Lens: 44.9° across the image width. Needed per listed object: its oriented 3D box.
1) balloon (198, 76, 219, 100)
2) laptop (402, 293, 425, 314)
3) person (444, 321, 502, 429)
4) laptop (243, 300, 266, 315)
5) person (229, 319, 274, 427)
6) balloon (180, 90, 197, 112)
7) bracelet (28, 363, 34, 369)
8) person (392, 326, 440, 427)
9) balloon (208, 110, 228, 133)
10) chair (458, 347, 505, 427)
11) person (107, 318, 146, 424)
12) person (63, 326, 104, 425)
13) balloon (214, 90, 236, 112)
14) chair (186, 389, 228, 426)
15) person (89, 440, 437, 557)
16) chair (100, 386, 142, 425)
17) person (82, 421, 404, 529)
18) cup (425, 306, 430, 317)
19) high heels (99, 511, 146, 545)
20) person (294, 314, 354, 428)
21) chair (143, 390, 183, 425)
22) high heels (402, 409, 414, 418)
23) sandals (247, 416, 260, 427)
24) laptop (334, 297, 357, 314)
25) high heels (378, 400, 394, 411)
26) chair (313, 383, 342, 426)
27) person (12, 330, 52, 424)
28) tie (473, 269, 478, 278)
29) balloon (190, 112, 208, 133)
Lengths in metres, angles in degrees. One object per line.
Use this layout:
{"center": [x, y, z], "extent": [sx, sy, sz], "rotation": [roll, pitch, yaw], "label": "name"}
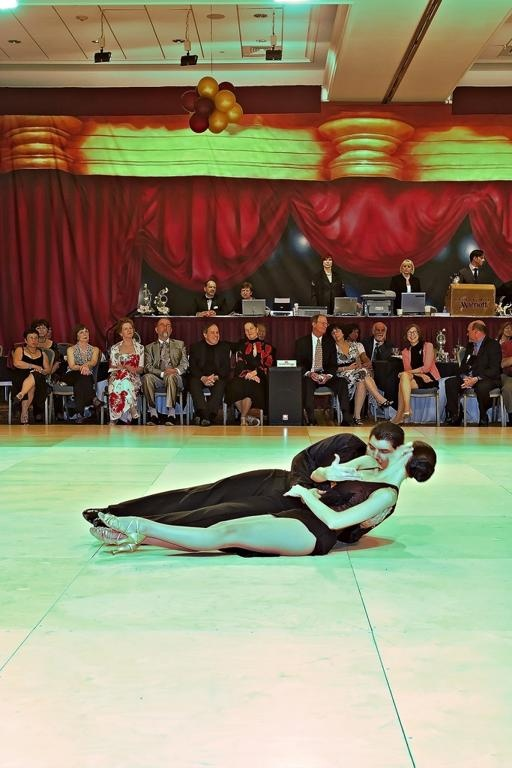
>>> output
{"center": [-0.683, -4.246, 8.913], "extent": [0.296, 0.320, 0.283], "rotation": [0, 6, -1], "label": "balloon"}
{"center": [2.531, -1.333, 10.260], "extent": [0.459, 0.405, 0.316], "rotation": [2, 12, 5], "label": "laptop"}
{"center": [3.206, -0.175, 9.056], "extent": [0.702, 1.427, 0.715], "rotation": [-18, 16, -32], "label": "person"}
{"center": [-0.065, -1.266, 10.246], "extent": [0.353, 0.220, 0.240], "rotation": [1, 11, -4], "label": "laptop"}
{"center": [-0.067, -0.166, 9.062], "extent": [0.593, 1.482, 0.635], "rotation": [3, 0, 1], "label": "person"}
{"center": [-1.007, -4.170, 9.122], "extent": [0.187, 0.344, 0.389], "rotation": [3, -1, -21], "label": "balloon"}
{"center": [-3.272, -0.254, 8.925], "extent": [0.057, 0.071, 0.023], "rotation": [-2, -14, -2], "label": "bracelet"}
{"center": [2.366, -0.151, 9.055], "extent": [0.590, 1.371, 0.802], "rotation": [3, 0, 19], "label": "person"}
{"center": [-0.578, -3.863, 9.132], "extent": [0.284, 0.325, 0.195], "rotation": [3, 0, -8], "label": "balloon"}
{"center": [3.199, -0.047, 8.921], "extent": [0.617, 1.240, 0.435], "rotation": [3, 0, 18], "label": "chair"}
{"center": [-1.925, -0.185, 9.053], "extent": [0.487, 1.544, 0.469], "rotation": [3, 0, -20], "label": "person"}
{"center": [-2.643, -0.155, 9.345], "extent": [0.502, 1.469, 1.292], "rotation": [3, 0, -17], "label": "person"}
{"center": [-0.466, -4.049, 8.919], "extent": [0.292, 0.317, 0.280], "rotation": [-1, 18, -7], "label": "balloon"}
{"center": [-0.797, 0.362, 9.333], "extent": [0.563, 0.493, 0.547], "rotation": [0, -6, 0], "label": "chair"}
{"center": [0.059, 0.522, 2.791], "extent": [1.452, 0.521, 0.463], "rotation": [3, 0, 7], "label": "person"}
{"center": [-1.994, 0.310, 9.150], "extent": [0.498, 0.612, 0.611], "rotation": [0, 9, -23], "label": "chair"}
{"center": [-0.186, 0.570, 4.025], "extent": [1.384, 0.363, 0.329], "rotation": [-8, 36, -10], "label": "person"}
{"center": [2.898, -1.230, 10.496], "extent": [0.141, 0.161, 0.247], "rotation": [-1, 9, 13], "label": "cup"}
{"center": [-0.582, 0.641, 2.690], "extent": [0.173, 0.141, 0.216], "rotation": [3, -1, -42], "label": "high heels"}
{"center": [0.993, -0.239, 9.166], "extent": [0.631, 1.636, 0.783], "rotation": [3, 0, -17], "label": "person"}
{"center": [-1.391, 0.346, 9.267], "extent": [0.310, 0.373, 0.980], "rotation": [0, -22, -4], "label": "chair"}
{"center": [2.159, 0.400, 8.805], "extent": [0.118, 0.144, 0.133], "rotation": [0, -35, 3], "label": "high heels"}
{"center": [-0.059, 0.537, 8.858], "extent": [0.122, 0.131, 0.345], "rotation": [1, 3, -2], "label": "sandals"}
{"center": [1.465, -1.263, 10.281], "extent": [0.370, 0.243, 0.266], "rotation": [2, 5, 2], "label": "laptop"}
{"center": [1.935, 0.310, 9.276], "extent": [0.201, 0.166, 0.499], "rotation": [3, -1, 12], "label": "high heels"}
{"center": [1.147, 0.323, 9.945], "extent": [0.486, 0.483, 0.636], "rotation": [2, 0, -9], "label": "chair"}
{"center": [-3.287, -0.127, 8.971], "extent": [0.528, 1.409, 0.658], "rotation": [3, 0, -21], "label": "person"}
{"center": [3.939, -1.984, 11.088], "extent": [0.056, 0.178, 0.025], "rotation": [1, -2, 20], "label": "tie"}
{"center": [-0.893, -3.910, 9.261], "extent": [0.304, 0.335, 0.292], "rotation": [7, 33, 6], "label": "balloon"}
